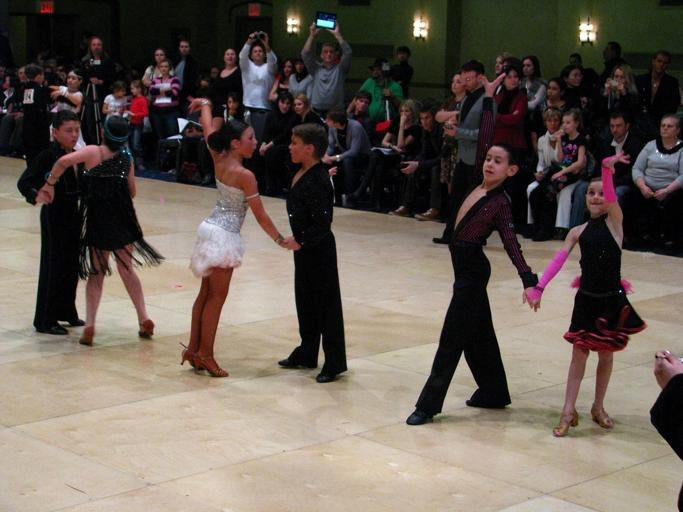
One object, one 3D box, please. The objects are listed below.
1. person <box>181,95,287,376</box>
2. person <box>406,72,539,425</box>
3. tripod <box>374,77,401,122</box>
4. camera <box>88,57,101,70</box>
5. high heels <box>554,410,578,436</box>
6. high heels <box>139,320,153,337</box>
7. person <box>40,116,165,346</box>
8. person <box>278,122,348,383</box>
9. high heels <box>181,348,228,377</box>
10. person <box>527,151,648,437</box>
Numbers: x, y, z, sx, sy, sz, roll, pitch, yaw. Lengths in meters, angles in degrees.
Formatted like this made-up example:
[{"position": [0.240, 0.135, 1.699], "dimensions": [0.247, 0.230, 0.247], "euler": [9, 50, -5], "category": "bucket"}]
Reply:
[{"position": [-0.932, -0.049, 5.033], "dimensions": [0.761, 2.017, 0.554], "euler": [-2, 15, -14], "category": "person"}, {"position": [0.912, 0.181, 4.346], "dimensions": [0.780, 1.889, 0.724], "euler": [3, 14, 6], "category": "person"}, {"position": [0.961, -3.312, 13.358], "dimensions": [0.645, 0.887, 0.773], "euler": [2, 13, 2], "category": "tripod"}, {"position": [-6.227, -4.865, 15.844], "dimensions": [0.406, 0.194, 0.243], "euler": [0, -7, -8], "category": "camera"}, {"position": [1.471, 1.090, 4.132], "dimensions": [0.134, 0.164, 0.179], "euler": [8, 15, 25], "category": "high heels"}, {"position": [-1.825, 0.676, 5.845], "dimensions": [0.086, 0.229, 0.095], "euler": [1, 53, -22], "category": "high heels"}, {"position": [-2.139, -0.243, 5.732], "dimensions": [0.913, 2.025, 0.640], "euler": [-3, 15, -16], "category": "person"}, {"position": [-0.222, -0.012, 4.941], "dimensions": [0.362, 1.995, 0.561], "euler": [-8, 17, -33], "category": "person"}, {"position": [-1.143, 0.844, 5.094], "dimensions": [0.454, 0.168, 0.173], "euler": [16, 14, 20], "category": "high heels"}, {"position": [1.661, 0.254, 4.137], "dimensions": [0.669, 1.821, 0.705], "euler": [8, 16, 25], "category": "person"}]
